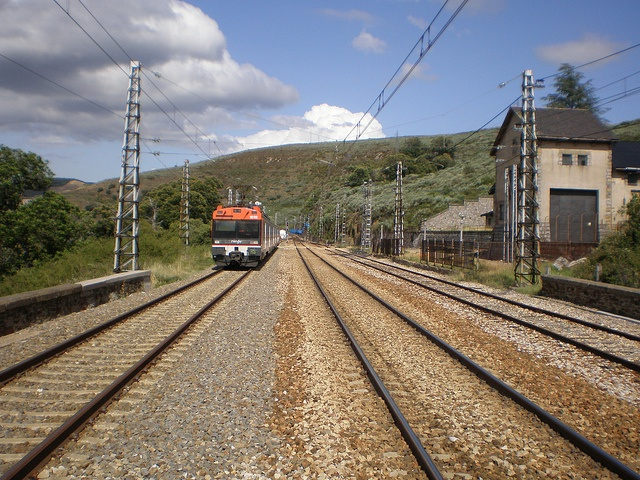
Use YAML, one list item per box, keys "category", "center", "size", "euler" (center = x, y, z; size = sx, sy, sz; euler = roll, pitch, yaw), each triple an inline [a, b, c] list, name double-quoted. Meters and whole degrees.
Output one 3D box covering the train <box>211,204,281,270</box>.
- category: "train"
  center: [-4.231, -0.161, 23.795]
  size: [2.409, 2.975, 0.866]
  euler: [1, 2, 10]
